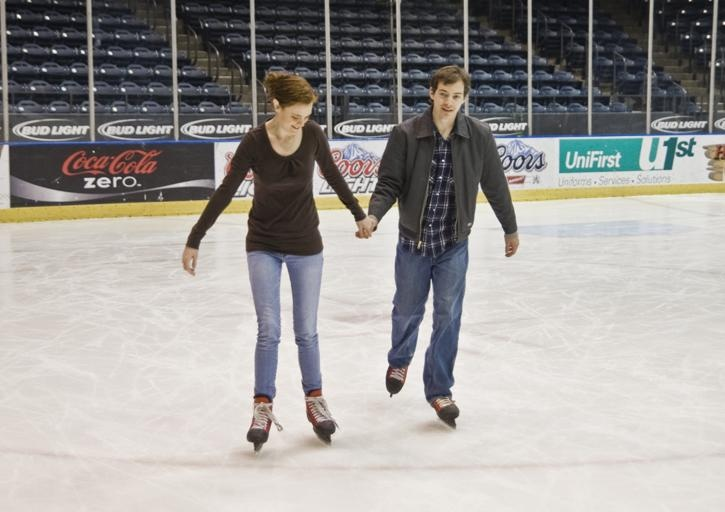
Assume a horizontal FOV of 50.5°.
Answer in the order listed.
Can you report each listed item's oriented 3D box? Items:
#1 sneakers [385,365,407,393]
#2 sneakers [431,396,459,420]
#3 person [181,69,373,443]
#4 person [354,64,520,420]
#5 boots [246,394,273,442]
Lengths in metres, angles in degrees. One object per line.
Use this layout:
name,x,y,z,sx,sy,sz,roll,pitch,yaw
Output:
sneakers,0.220,0.831,5.132,0.099,0.207,0.106,10,21,-2
sneakers,0.524,0.953,4.823,0.095,0.086,0.215,-1,4,-6
person,-0.497,0.022,4.566,1.065,2.216,0.544,0,10,-5
person,0.474,-0.093,4.865,0.932,2.160,0.446,2,10,9
boots,-0.578,0.972,4.543,0.129,0.136,0.311,0,18,-2
